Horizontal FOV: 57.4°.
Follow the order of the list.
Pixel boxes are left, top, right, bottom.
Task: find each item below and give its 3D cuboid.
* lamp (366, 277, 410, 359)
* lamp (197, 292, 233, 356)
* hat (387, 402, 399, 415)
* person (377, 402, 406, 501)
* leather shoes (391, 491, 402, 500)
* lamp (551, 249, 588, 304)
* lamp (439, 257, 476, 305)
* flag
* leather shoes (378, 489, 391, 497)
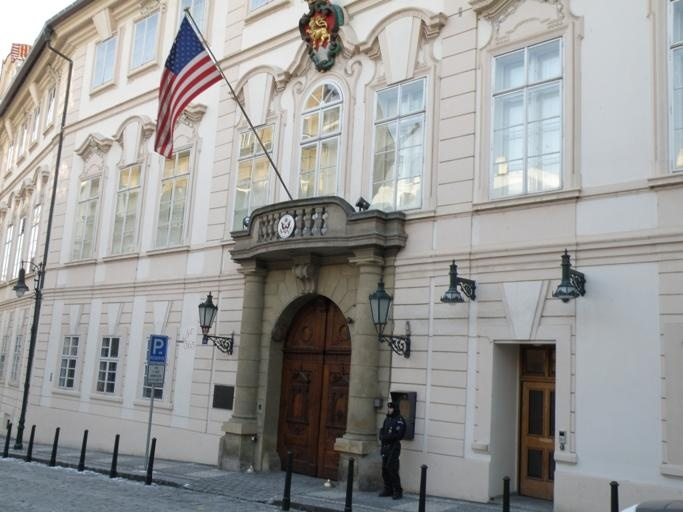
[{"bbox_3d":[1.075,1.484,14.614,0.825,1.699,1.220,-5,-16,29],"label":"lamp"},{"bbox_3d":[-3.837,1.923,18.086,1.141,1.748,1.221,-7,-17,35],"label":"lamp"},{"bbox_3d":[1.178,3.423,13.939,0.204,0.311,0.289,-2,-3,12],"label":"hat"},{"bbox_3d":[1.129,4.302,13.697,0.572,1.956,0.362,-2,-14,18],"label":"person"},{"bbox_3d":[1.225,5.173,13.444,0.215,0.160,0.320,2,-15,6],"label":"leather shoes"},{"bbox_3d":[4.606,0.369,12.584,0.376,1.148,0.929,-9,-18,40],"label":"lamp"},{"bbox_3d":[2.626,0.578,13.906,0.526,1.070,0.912,-7,-18,35],"label":"lamp"},{"bbox_3d":[-4.405,-5.069,17.962,2.023,0.274,4.959,-28,-29,-35],"label":"flag"},{"bbox_3d":[0.990,5.174,13.586,0.264,0.150,0.201,-2,-16,20],"label":"leather shoes"}]
